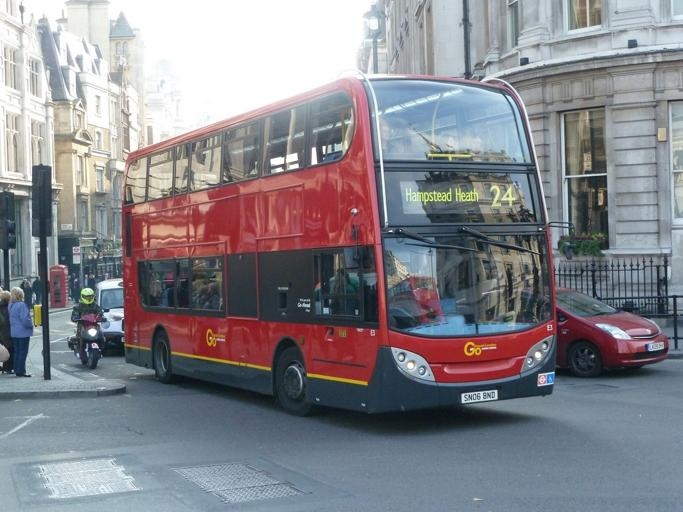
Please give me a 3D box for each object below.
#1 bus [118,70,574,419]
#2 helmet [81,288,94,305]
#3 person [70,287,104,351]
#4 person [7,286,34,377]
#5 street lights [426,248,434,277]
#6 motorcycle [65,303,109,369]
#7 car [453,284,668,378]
[{"bbox_3d":[-1.382,-0.016,13.744,2.951,5.114,10.834,-1,-1,-44],"label":"bus"},{"bbox_3d":[-6.545,1.024,18.569,0.331,0.428,0.439,1,-5,-27],"label":"helmet"},{"bbox_3d":[-6.715,1.333,18.987,0.790,0.988,1.403,-1,0,-24],"label":"person"},{"bbox_3d":[-7.116,1.666,15.924,0.474,1.795,0.927,-1,0,-24],"label":"person"},{"bbox_3d":[1.236,0.086,9.890,0.137,0.386,0.050,-1,0,-24],"label":"street lights"},{"bbox_3d":[-6.587,2.056,18.766,0.822,1.574,1.482,-1,-1,-20],"label":"motorcycle"},{"bbox_3d":[5.022,1.611,15.787,1.950,1.786,3.685,0,-4,-40],"label":"car"}]
